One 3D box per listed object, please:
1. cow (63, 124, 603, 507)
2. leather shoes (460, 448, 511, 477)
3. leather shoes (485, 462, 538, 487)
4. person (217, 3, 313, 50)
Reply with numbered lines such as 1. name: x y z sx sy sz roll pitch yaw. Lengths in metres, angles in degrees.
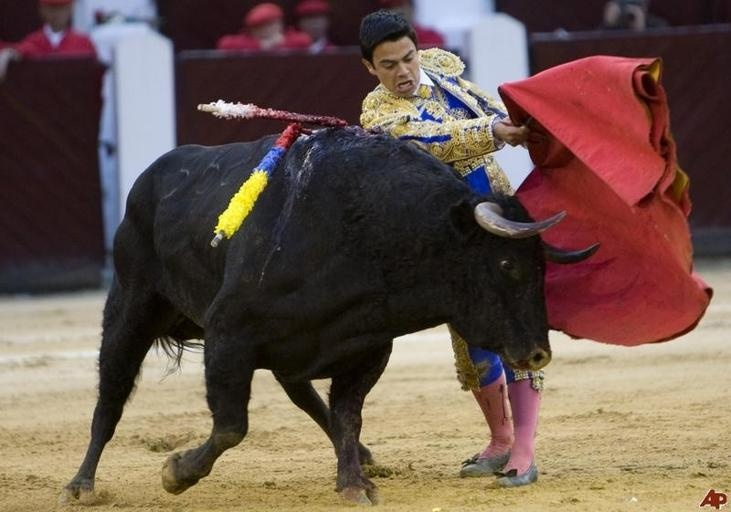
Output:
1. cow: -0.243 0.275 5.662 2.129 1.609 0.682 2 15 19
2. leather shoes: 0.545 0.944 5.998 0.219 0.073 0.103 -3 1 -11
3. leather shoes: 0.666 0.973 5.846 0.173 0.058 0.090 3 -6 -32
4. person: -0.859 -1.904 10.917 0.534 0.254 0.760 -2 3 -10
